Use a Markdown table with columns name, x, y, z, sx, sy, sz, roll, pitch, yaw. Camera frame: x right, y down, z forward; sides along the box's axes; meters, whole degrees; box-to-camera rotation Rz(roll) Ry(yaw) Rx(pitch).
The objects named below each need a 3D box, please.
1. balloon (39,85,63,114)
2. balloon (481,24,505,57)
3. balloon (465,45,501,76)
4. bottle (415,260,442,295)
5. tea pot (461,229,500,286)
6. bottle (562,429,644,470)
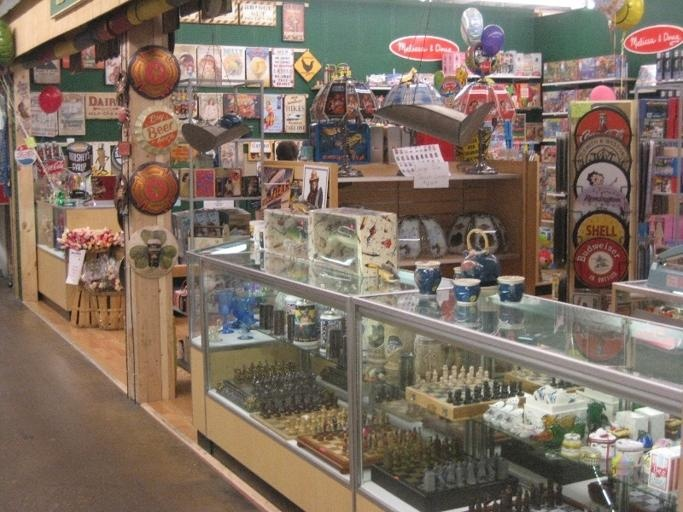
| name | x | y | z | sx | sy | sz | roll | pitch | yaw |
| --- | --- | --- | --- | --- | --- | --- | --- | --- | --- |
| balloon | -3.867 | -2.100 | 8.924 | 0.302 | 0.368 | 0.342 | -4 | 10 | -24 |
| balloon | 1.408 | -1.977 | 6.252 | 0.228 | 0.378 | 0.235 | 0 | 8 | 3 |
| balloon | 1.312 | -1.853 | 6.330 | 0.279 | 0.297 | 0.291 | 5 | 10 | 43 |
| bottle | 0.409 | 0.100 | 3.112 | 0.126 | 0.167 | 0.135 | 0 | 2 | 0 |
| tea pot | 0.762 | -0.006 | 3.707 | 0.173 | 0.310 | 0.190 | 3 | 14 | -1 |
| bottle | 0.940 | 0.688 | 2.428 | 0.284 | 0.145 | 0.064 | 9 | 12 | 43 |
